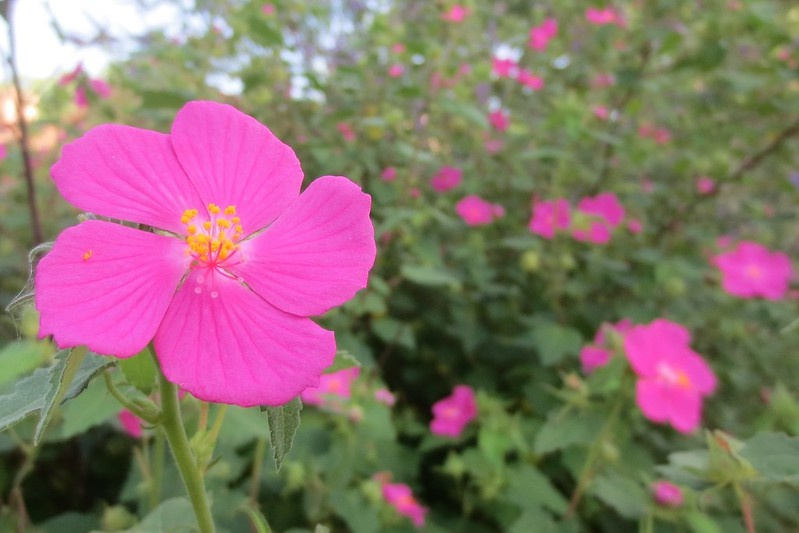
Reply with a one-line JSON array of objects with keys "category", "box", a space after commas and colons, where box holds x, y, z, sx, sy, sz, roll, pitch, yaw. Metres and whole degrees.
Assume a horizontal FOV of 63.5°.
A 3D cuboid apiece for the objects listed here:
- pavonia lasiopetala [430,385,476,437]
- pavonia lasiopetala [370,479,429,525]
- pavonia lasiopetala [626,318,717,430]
[{"category": "pavonia lasiopetala", "box": [0.129, 0.311, 1.522, 0.111, 0.119, 0.032, -22, 51, -18]}, {"category": "pavonia lasiopetala", "box": [0.003, 0.627, 1.721, 0.029, 0.111, 0.109, -28, 61, -4]}, {"category": "pavonia lasiopetala", "box": [0.527, 0.218, 1.269, 0.188, 0.199, 0.113, 9, 13, 11]}]
